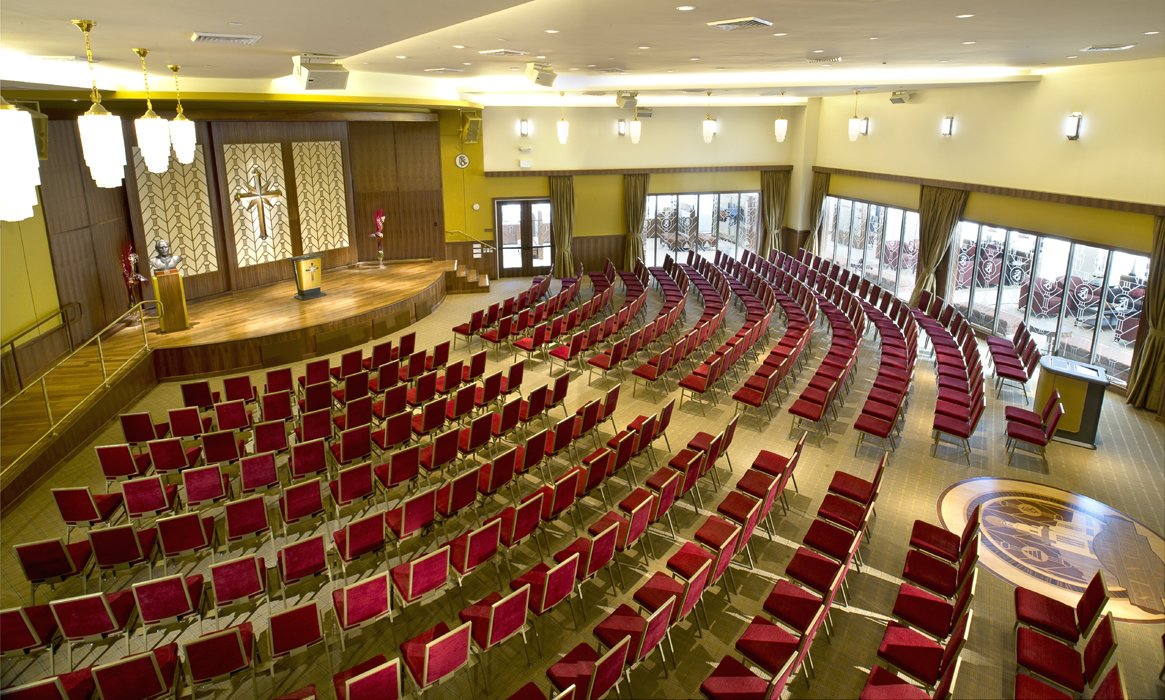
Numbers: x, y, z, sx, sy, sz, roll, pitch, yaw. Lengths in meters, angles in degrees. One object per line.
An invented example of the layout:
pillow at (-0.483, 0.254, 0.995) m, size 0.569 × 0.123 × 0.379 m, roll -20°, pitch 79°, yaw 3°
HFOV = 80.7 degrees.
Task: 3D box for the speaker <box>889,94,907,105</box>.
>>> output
speaker at (9.000, -7.128, 19.481) m, size 0.349 × 0.298 × 0.494 m, roll -13°, pitch 25°, yaw -36°

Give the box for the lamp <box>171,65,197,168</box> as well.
lamp at (-7.338, -4.363, 12.565) m, size 0.314 × 1.213 × 0.312 m, roll -2°, pitch 25°, yaw -8°

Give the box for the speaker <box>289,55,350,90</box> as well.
speaker at (-4.714, -4.959, 12.241) m, size 0.711 × 0.453 × 0.694 m, roll -10°, pitch 32°, yaw -29°

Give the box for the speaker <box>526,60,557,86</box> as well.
speaker at (-0.819, -5.525, 13.719) m, size 0.558 × 0.412 × 0.708 m, roll -1°, pitch 20°, yaw -10°

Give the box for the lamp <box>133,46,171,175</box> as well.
lamp at (-7.036, -3.924, 11.164) m, size 0.448 × 1.775 × 0.446 m, roll 9°, pitch 22°, yaw 6°
